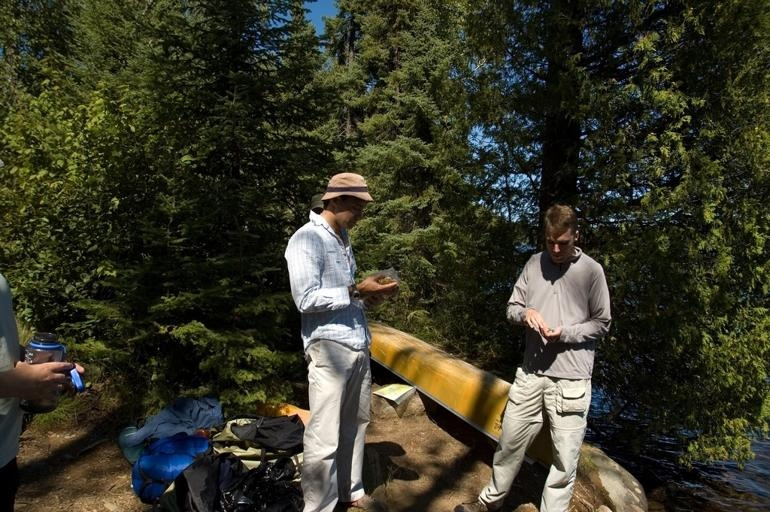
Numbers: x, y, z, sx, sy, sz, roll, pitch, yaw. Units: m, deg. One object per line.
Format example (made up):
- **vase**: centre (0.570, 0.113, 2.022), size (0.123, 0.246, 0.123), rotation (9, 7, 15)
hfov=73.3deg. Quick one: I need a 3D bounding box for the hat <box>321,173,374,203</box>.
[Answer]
- **hat**: centre (-0.409, -0.730, 5.546), size (0.430, 0.207, 0.335), rotation (1, 5, 16)
